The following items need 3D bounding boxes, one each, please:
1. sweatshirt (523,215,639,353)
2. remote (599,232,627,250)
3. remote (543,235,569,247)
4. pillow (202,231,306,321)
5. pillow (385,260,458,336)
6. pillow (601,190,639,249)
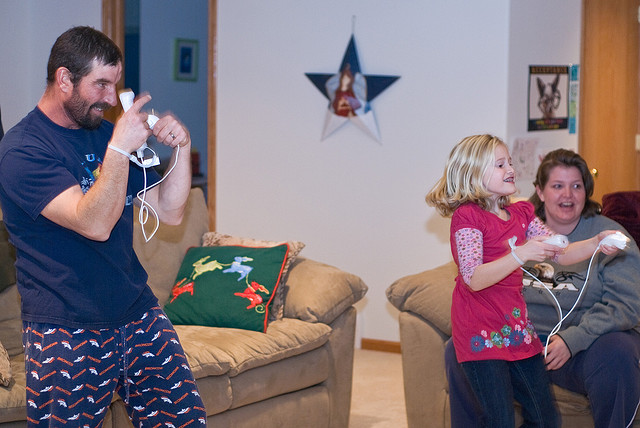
[{"bbox_3d":[1.252,0.320,2.523,0.508,0.621,0.346,1,2,21],"label":"sweatshirt"},{"bbox_3d":[1.129,0.099,2.019,0.079,0.041,0.054,8,16,26],"label":"remote"},{"bbox_3d":[0.876,0.091,1.927,0.100,0.042,0.038,10,6,33],"label":"remote"},{"bbox_3d":[-0.373,0.265,2.947,0.487,0.521,0.159,5,-22,28],"label":"pillow"},{"bbox_3d":[0.528,0.408,2.739,0.374,0.116,0.356,-23,22,-37],"label":"pillow"},{"bbox_3d":[1.651,0.024,2.878,0.118,0.282,0.270,3,0,-45],"label":"pillow"}]
